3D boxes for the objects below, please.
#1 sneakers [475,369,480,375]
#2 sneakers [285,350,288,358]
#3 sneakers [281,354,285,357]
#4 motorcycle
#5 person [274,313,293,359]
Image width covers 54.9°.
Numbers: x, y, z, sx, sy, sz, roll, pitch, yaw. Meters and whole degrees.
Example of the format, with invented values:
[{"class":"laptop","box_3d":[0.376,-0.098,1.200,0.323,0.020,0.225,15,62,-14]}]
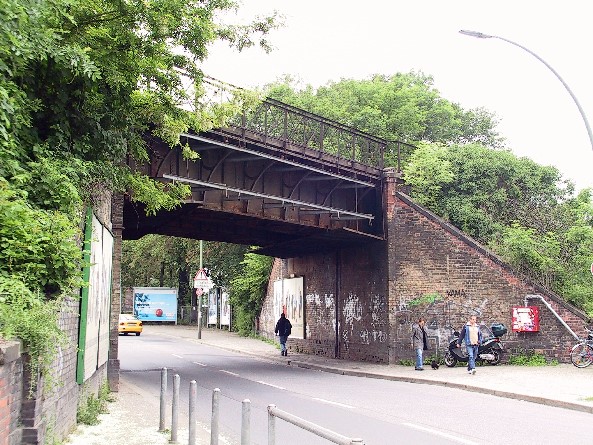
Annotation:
[{"class":"sneakers","box_3d":[6.011,4.984,19.094,0.089,0.072,0.149,13,-2,6]},{"class":"sneakers","box_3d":[-0.474,6.376,27.548,0.110,0.154,0.353,-4,-28,-3]},{"class":"sneakers","box_3d":[-0.664,6.416,27.651,0.103,0.146,0.324,1,-4,-3]},{"class":"motorcycle","box_3d":[7.136,4.691,21.815,2.419,1.641,1.276,-8,-25,30]},{"class":"person","box_3d":[-0.653,5.555,27.995,0.753,2.064,1.577,2,-11,-2]}]
